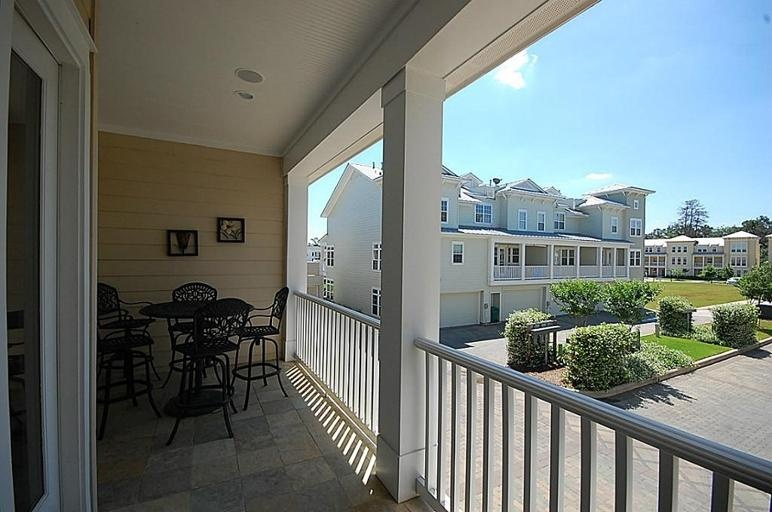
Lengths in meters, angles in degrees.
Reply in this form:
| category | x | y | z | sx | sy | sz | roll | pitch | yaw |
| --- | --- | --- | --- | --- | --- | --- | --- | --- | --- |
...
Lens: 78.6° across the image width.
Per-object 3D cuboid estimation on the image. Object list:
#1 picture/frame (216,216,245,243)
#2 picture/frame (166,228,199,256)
| category | x | y | z | sx | sy | sz | roll | pitch | yaw |
| --- | --- | --- | --- | --- | --- | --- | --- | --- | --- |
| picture/frame | -2.277 | -0.372 | 6.852 | 0.383 | 0.397 | 0.063 | 0 | -1 | -32 |
| picture/frame | -2.868 | -0.179 | 6.604 | 0.375 | 0.419 | 0.041 | 0 | -1 | -29 |
